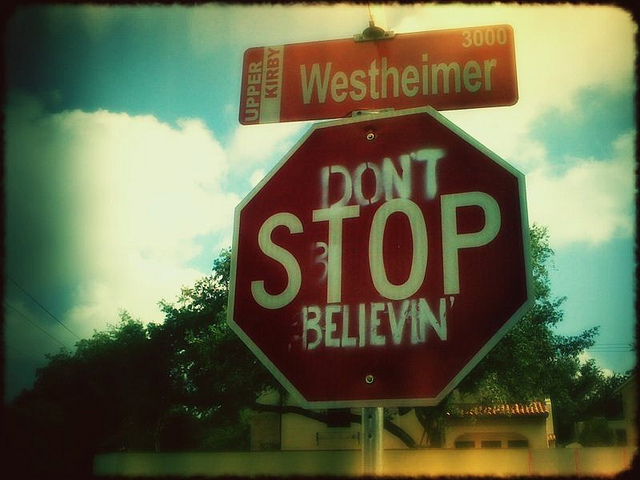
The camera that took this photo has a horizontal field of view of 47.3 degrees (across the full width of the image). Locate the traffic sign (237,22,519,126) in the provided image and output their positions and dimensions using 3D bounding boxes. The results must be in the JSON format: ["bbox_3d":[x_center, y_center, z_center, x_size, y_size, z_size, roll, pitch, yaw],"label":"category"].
[{"bbox_3d":[0.334,-1.004,4.405,1.659,0.616,0.024,-3,-25,10],"label":"traffic sign"}]
